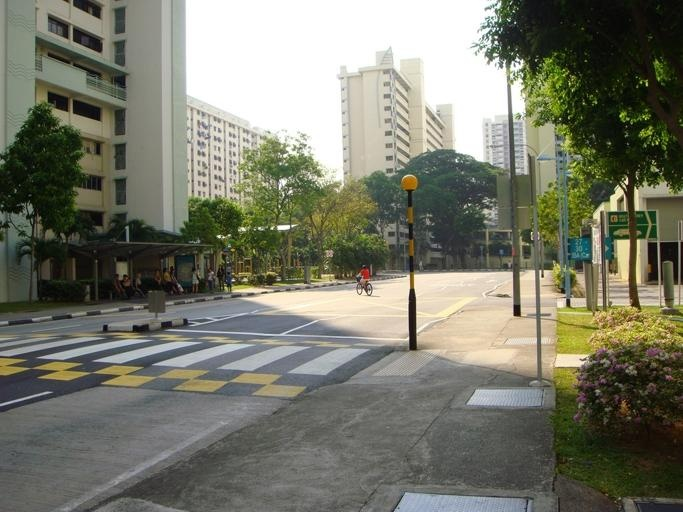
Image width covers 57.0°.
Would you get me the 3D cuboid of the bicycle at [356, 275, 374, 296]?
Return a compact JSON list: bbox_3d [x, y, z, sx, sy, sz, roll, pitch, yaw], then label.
[{"bbox_3d":[1.279,1.645,34.115,0.628,0.795,1.144,-3,4,-36],"label":"bicycle"}]
